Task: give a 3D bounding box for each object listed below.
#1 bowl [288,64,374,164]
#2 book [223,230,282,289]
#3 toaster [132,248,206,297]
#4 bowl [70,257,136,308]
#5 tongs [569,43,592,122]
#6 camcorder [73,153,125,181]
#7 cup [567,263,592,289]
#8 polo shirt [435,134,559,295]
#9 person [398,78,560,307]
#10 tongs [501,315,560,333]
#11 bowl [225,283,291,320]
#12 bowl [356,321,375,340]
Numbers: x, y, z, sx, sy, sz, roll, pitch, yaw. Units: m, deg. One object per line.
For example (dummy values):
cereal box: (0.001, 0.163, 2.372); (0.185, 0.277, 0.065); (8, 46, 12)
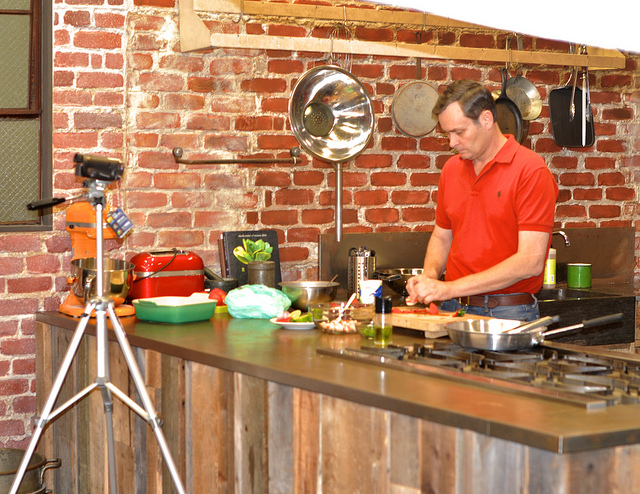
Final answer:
bowl: (0.059, -0.655, 3.703); (0.476, 0.475, 0.179); (9, 5, -31)
book: (-0.314, 0.060, 3.665); (0.310, 0.289, 0.245); (-1, 0, -16)
toaster: (-0.715, 0.133, 3.399); (0.353, 0.231, 0.249); (-1, 8, -39)
bowl: (-0.905, 0.132, 3.070); (0.231, 0.176, 0.368); (1, 2, 15)
tongs: (1.391, -0.873, 4.000); (0.107, 0.457, 0.055); (8, 43, 27)
camcorder: (-0.662, -0.232, 2.241); (0.130, 0.069, 0.071); (6, 21, -28)
cup: (1.397, 0.158, 4.038); (0.126, 0.132, 0.126); (0, -5, 0)
polo shirt: (0.722, -0.160, 3.180); (0.215, 0.602, 0.623); (-1, 0, -31)
person: (0.484, -0.241, 3.051); (0.689, 0.873, 0.660); (-1, 0, -32)
tongs: (0.634, 0.233, 2.244); (0.129, 0.020, 0.078); (-18, 0, -8)
bowl: (-0.264, 0.212, 2.997); (0.192, 0.070, 0.151); (-1, -1, 43)
bowl: (0.151, 0.279, 2.479); (0.052, 0.036, 0.055); (1, 0, 0)
